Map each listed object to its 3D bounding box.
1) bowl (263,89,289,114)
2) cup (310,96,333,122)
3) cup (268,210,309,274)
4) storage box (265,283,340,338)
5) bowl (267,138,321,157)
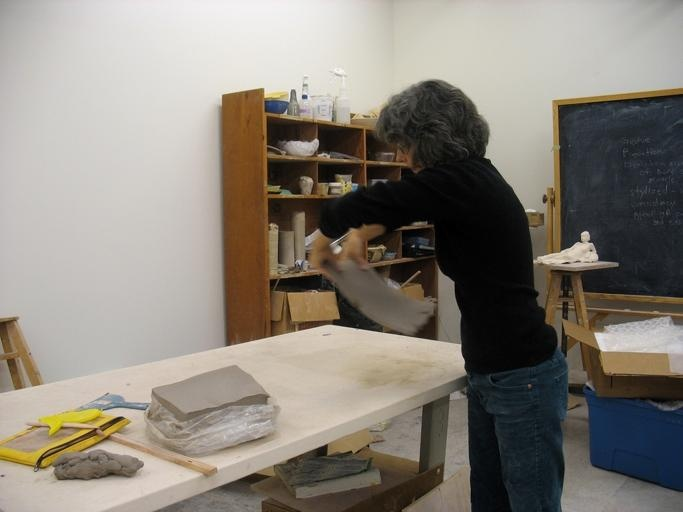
[{"bbox_3d":[-0.473,-1.138,3.869,0.183,0.117,0.182,0,0,0],"label":"bowl"},{"bbox_3d":[-0.161,-1.180,4.259,0.194,0.207,0.189,2,0,0],"label":"cup"},{"bbox_3d":[-0.388,-0.091,4.013,0.437,0.494,0.360,0,1,-18],"label":"cup"},{"bbox_3d":[-0.350,0.396,4.049,0.381,0.341,0.520,20,10,38],"label":"storage box"},{"bbox_3d":[-0.343,-0.816,4.001,0.266,0.100,0.198,-3,8,17],"label":"bowl"}]
